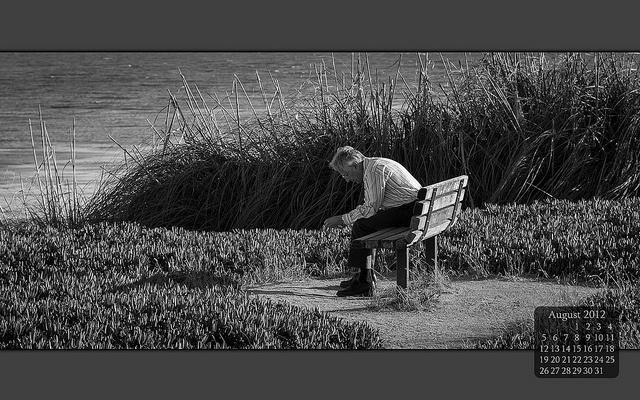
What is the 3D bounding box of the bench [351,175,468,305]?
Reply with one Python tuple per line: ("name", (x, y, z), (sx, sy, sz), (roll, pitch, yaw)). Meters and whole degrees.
("bench", (1.380, 0.520, 15.591), (0.961, 1.553, 2.426), (6, 7, 20))
